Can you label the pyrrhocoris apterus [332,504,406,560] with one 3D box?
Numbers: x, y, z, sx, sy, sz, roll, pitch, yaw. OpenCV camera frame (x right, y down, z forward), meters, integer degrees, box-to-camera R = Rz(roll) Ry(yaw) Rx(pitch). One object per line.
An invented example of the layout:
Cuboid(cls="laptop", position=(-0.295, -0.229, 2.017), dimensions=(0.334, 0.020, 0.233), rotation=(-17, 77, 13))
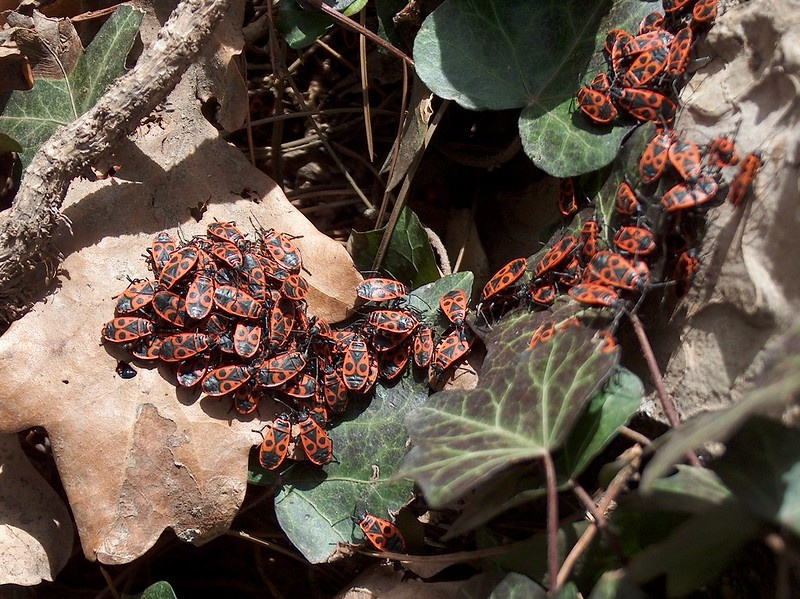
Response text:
Cuboid(cls="pyrrhocoris apterus", position=(-0.144, 1.393, 4.970), dimensions=(0.322, 0.082, 0.253), rotation=(35, 82, -11))
